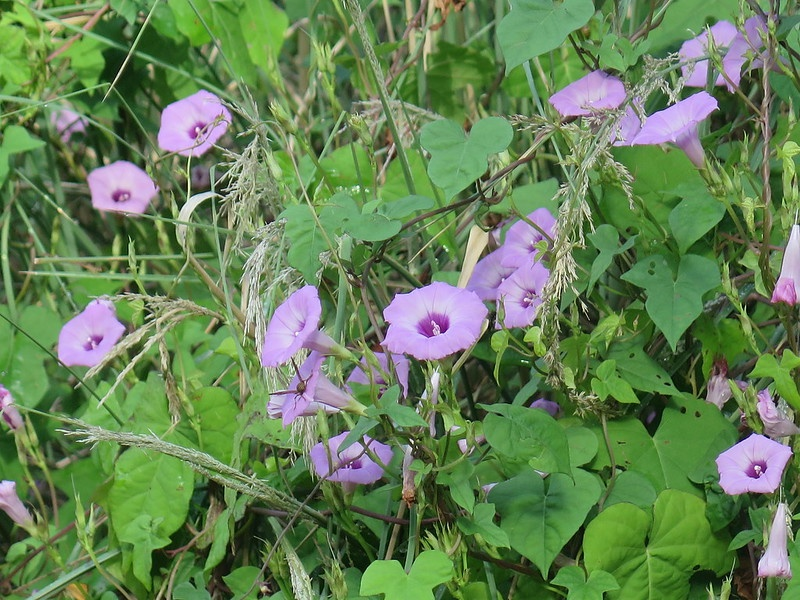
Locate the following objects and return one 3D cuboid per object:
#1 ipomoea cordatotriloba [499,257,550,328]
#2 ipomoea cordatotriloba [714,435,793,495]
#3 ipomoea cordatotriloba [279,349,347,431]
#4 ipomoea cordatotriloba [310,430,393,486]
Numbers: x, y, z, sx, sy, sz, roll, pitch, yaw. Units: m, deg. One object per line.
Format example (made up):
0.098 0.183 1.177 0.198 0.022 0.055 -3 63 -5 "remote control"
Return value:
0.238 0.000 1.547 0.110 0.041 0.120 -38 37 27 "ipomoea cordatotriloba"
0.623 0.290 1.412 0.106 0.048 0.115 24 69 45 "ipomoea cordatotriloba"
-0.154 0.155 1.401 0.100 0.113 0.112 -4 58 27 "ipomoea cordatotriloba"
-0.095 0.298 1.477 0.106 0.051 0.120 14 38 22 "ipomoea cordatotriloba"
